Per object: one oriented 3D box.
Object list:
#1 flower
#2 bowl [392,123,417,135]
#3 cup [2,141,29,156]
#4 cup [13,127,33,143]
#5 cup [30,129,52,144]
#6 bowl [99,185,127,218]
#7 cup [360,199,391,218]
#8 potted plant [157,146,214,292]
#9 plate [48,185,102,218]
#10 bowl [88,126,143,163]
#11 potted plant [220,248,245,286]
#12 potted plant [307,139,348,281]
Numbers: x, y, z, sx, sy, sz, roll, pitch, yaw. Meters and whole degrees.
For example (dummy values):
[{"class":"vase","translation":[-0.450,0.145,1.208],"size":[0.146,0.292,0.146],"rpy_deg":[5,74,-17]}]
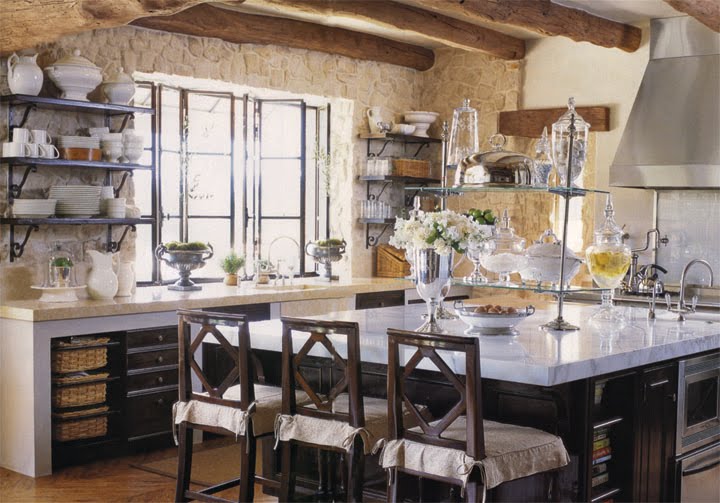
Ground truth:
[{"class":"flower","translation":[0.459,-0.106,3.566],"size":[0.311,0.182,0.312],"rpy_deg":[0,2,18]},{"class":"bowl","translation":[0.507,-1.411,7.371],"size":[0.296,0.133,0.225],"rpy_deg":[-1,4,-5]},{"class":"cup","translation":[-2.644,-0.768,4.836],"size":[0.247,0.115,0.075],"rpy_deg":[1,4,26]},{"class":"cup","translation":[-2.583,-0.878,4.837],"size":[0.137,0.121,0.113],"rpy_deg":[-1,4,-13]},{"class":"cup","translation":[-2.465,-0.895,4.930],"size":[0.139,0.115,0.082],"rpy_deg":[-1,6,-16]},{"class":"bowl","translation":[-2.038,-0.399,5.377],"size":[0.279,0.265,0.180],"rpy_deg":[0,0,40]},{"class":"cup","translation":[0.174,-0.473,7.231],"size":[0.361,0.209,0.162],"rpy_deg":[0,4,2]},{"class":"potted plant","translation":[-1.658,-0.313,5.979],"size":[0.510,1.298,0.695],"rpy_deg":[-2,4,-14]},{"class":"plate","translation":[-2.291,-0.386,5.215],"size":[0.398,0.235,0.397],"rpy_deg":[-4,4,-44]},{"class":"bowl","translation":[-2.025,-0.885,5.305],"size":[0.338,0.223,0.287],"rpy_deg":[-6,8,-38]},{"class":"potted plant","translation":[-1.245,0.195,6.341],"size":[0.193,0.268,0.203],"rpy_deg":[-3,7,-6]},{"class":"potted plant","translation":[-0.380,-0.456,7.004],"size":[0.475,1.521,0.743],"rpy_deg":[-1,4,-3]}]
